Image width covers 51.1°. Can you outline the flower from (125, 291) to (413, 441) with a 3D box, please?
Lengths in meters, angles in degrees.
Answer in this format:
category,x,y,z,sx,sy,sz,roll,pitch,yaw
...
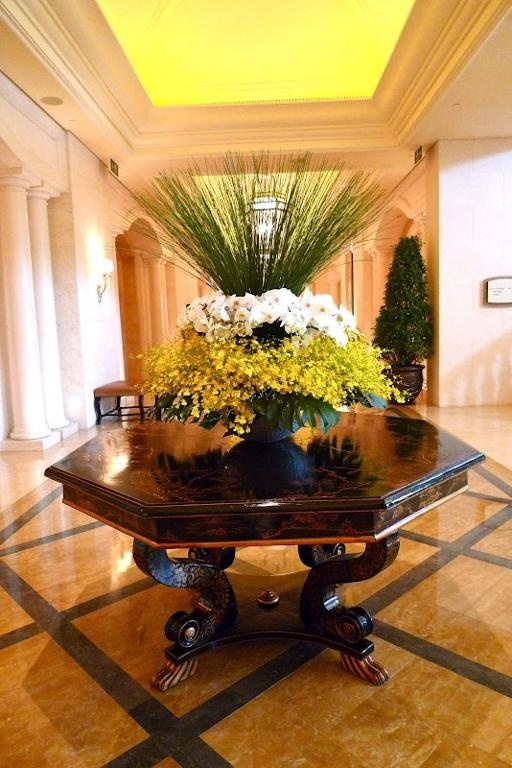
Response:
category,x,y,z,sx,sy,sz,roll,pitch,yaw
flower,0.027,-0.027,1.922,0.827,0.523,0.873,5,-1,1
